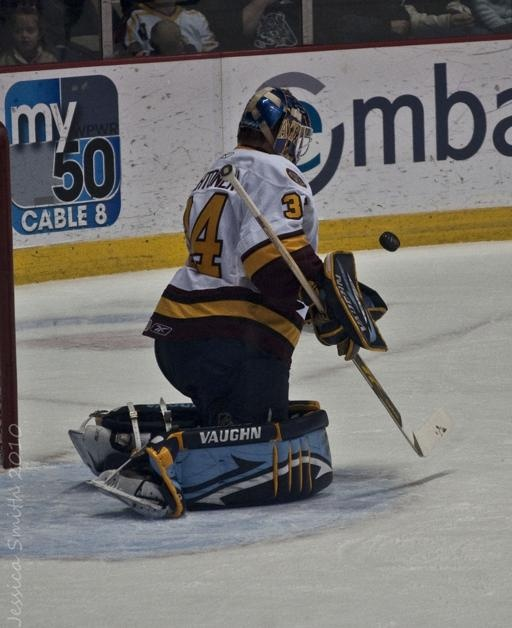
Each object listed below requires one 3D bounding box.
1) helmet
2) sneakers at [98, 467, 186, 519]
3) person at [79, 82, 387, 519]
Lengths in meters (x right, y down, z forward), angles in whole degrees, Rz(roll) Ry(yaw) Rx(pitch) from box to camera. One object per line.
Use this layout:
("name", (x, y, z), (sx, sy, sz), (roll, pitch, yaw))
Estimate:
("helmet", (0.051, -0.515, 3.195), (0.241, 0.205, 0.175), (-2, 15, -41))
("sneakers", (-0.275, 0.429, 2.826), (0.174, 0.069, 0.121), (26, -9, -10))
("person", (-0.061, -0.054, 2.997), (0.812, 1.064, 0.509), (-2, 7, -9))
